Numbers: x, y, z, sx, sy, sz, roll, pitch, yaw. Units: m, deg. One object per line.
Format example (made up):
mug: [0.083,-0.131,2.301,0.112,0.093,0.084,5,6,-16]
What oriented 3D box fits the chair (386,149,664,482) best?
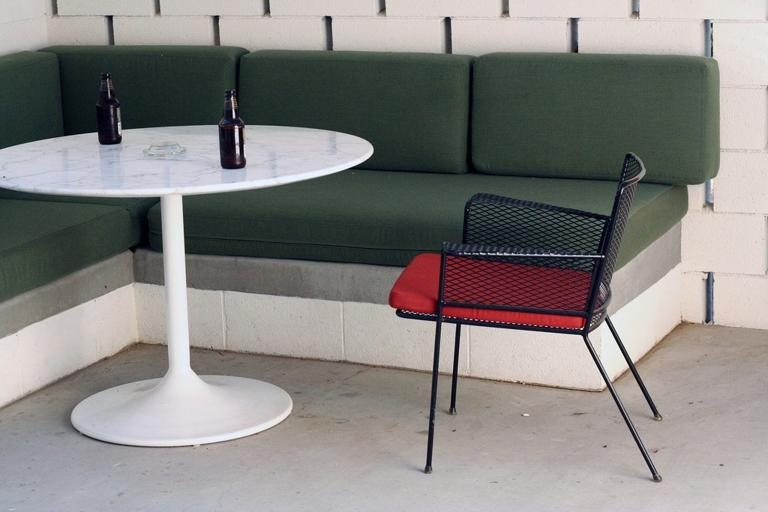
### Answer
chair: [0.546,0.172,2.753,0.972,1.104,0.810,7,18,19]

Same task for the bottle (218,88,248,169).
bottle: [-0.549,-0.452,2.667,0.089,0.271,0.130,-3,18,-11]
